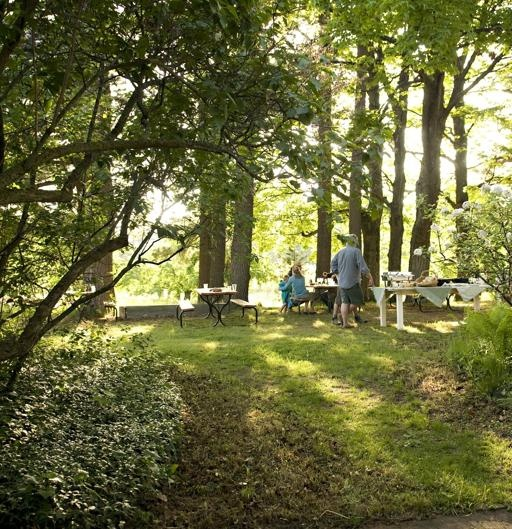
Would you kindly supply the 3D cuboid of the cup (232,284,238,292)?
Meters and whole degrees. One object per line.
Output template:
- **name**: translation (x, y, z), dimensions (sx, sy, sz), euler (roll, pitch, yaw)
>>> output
- **cup**: translation (-0.568, 0.596, 14.634), dimensions (0.201, 0.209, 0.186), euler (-1, -3, 0)

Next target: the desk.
- **desk**: translation (3.343, 0.810, 10.872), dimensions (1.831, 0.866, 1.145), euler (-3, 7, -12)

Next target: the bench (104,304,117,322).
- **bench**: translation (-3.791, 1.270, 14.640), dimensions (0.361, 0.402, 0.318), euler (-8, 13, -32)

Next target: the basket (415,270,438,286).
- **basket**: translation (3.547, 0.287, 11.729), dimensions (0.320, 0.175, 0.426), euler (2, 8, 34)
